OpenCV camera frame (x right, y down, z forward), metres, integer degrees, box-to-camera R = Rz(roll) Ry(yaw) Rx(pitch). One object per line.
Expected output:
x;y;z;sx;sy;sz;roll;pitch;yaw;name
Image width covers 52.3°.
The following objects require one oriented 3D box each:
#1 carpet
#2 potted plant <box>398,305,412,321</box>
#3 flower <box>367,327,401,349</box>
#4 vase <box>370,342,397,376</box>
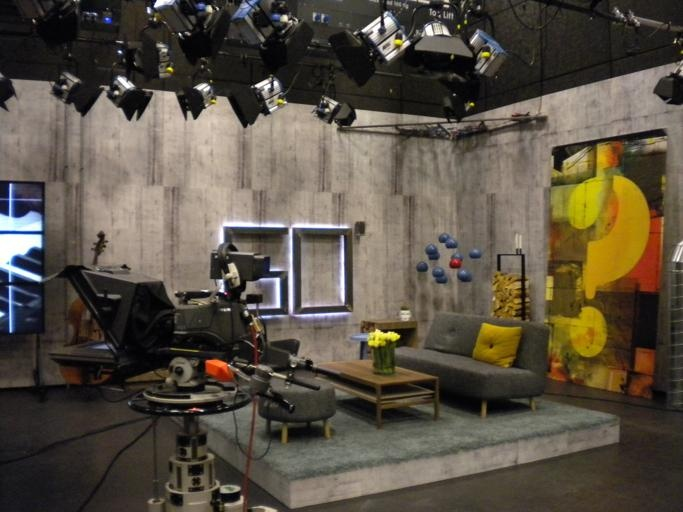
0.782;1.824;7.213;3.507;0.359;1.390;2;-2;-20;carpet
0.963;0.892;10.673;0.221;0.221;0.170;8;-8;-37;potted plant
0.446;0.916;7.684;0.313;0.202;0.387;1;-2;0;flower
0.433;1.156;7.694;0.363;0.527;0.288;0;-10;-3;vase
